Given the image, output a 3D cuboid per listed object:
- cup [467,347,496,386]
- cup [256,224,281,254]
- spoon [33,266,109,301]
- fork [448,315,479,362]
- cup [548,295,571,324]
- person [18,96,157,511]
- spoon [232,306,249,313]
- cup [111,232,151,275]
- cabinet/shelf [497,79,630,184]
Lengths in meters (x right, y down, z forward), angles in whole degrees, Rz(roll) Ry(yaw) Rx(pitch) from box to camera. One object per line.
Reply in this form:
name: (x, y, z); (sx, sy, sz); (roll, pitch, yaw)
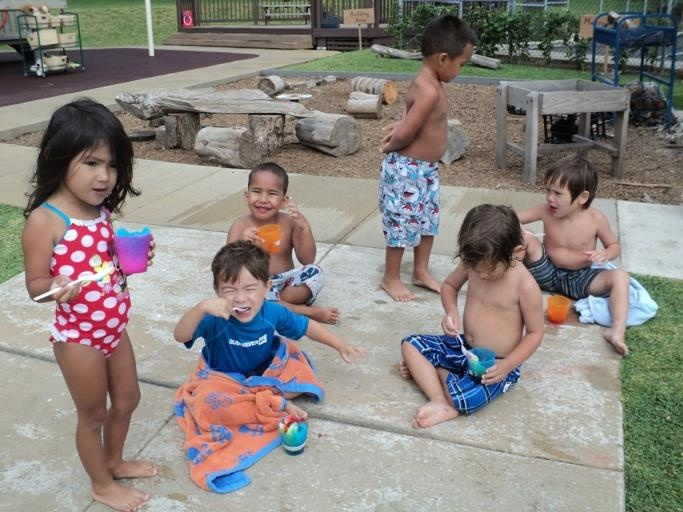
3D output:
cup: (0.706, 0.563, 2.724); (0.187, 0.156, 0.146); (2, 28, 7)
cup: (-0.444, -0.105, 3.240); (0.199, 0.131, 0.120); (-12, 24, 26)
spoon: (-1.037, 0.101, 1.979); (0.059, 0.048, 0.359); (29, 24, 23)
fork: (0.629, 0.444, 2.839); (0.059, 0.077, 0.332); (-42, 41, 3)
cup: (1.438, 0.364, 3.595); (0.202, 0.135, 0.182); (10, 30, 19)
person: (-1.024, 0.219, 2.181); (0.405, 1.689, 0.520); (-4, 19, -8)
spoon: (-0.478, 0.251, 2.482); (0.075, 0.036, 0.029); (-4, 18, -11)
cup: (-0.854, -0.024, 2.194); (0.182, 0.175, 0.165); (-5, 25, -26)
cabinet/shelf: (2.653, -1.542, 6.529); (1.401, 0.898, 1.042); (-5, 21, -6)
